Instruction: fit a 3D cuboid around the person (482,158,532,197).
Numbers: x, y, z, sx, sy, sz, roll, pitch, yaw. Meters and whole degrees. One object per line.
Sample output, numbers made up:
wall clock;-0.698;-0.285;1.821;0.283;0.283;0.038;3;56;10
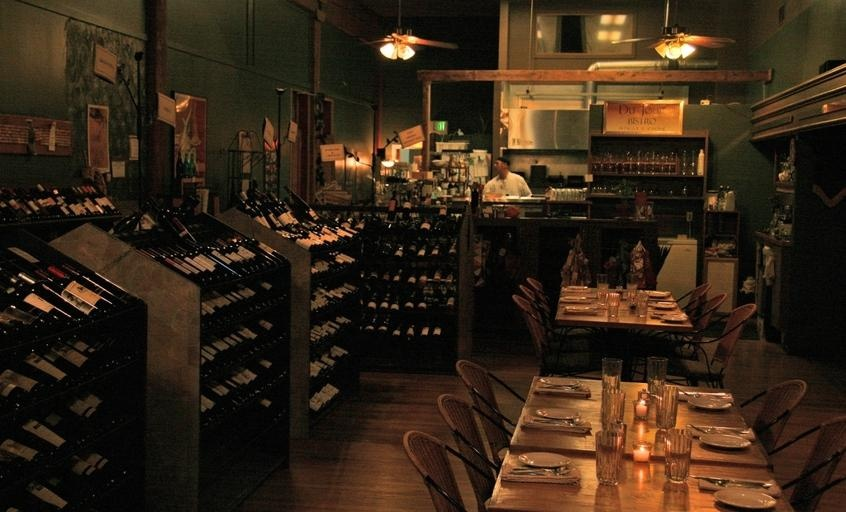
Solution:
person;1.570;-1.365;13.075;0.977;0.871;0.497;0;4;14

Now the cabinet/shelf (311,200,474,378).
cabinet/shelf;-0.272;0.365;10.043;1.759;3.190;3.130;0;7;3

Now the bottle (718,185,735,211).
bottle;5.354;-0.973;12.293;0.256;0.458;0.450;0;-2;1

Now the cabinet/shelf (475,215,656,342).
cabinet/shelf;1.880;0.294;9.108;1.865;1.064;0.557;-1;-2;6

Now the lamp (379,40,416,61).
lamp;-0.355;-2.941;10.040;0.449;0.210;0.359;5;15;17

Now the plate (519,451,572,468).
plate;0.762;1.282;4.383;0.308;0.028;0.169;3;15;6

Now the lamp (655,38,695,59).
lamp;3.616;-2.988;10.098;0.488;0.249;0.383;9;17;30

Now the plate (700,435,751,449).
plate;1.978;1.217;4.574;0.144;0.023;0.138;-2;6;1

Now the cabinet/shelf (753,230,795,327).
cabinet/shelf;5.186;0.355;10.268;0.589;1.414;1.556;1;2;13
